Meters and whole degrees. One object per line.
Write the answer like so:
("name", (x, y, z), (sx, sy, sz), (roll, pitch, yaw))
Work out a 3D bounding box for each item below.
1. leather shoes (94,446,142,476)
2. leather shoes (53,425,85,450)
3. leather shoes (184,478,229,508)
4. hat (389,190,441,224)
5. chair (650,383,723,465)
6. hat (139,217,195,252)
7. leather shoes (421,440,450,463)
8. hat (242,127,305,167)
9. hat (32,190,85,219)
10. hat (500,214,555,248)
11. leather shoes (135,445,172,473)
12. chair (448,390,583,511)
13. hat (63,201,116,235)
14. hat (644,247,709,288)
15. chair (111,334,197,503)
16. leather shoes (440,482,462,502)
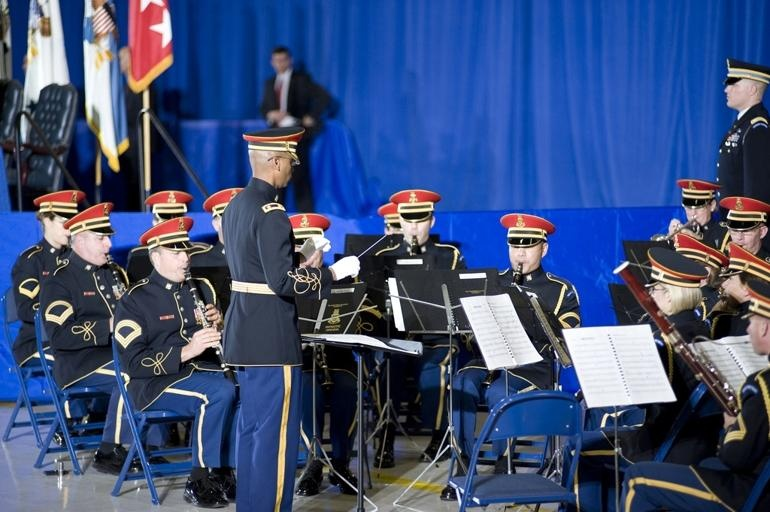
("leather shoes", (-2.439, 1.900, 11.215), (0.542, 0.240, 0.216), (-1, -6, 11))
("leather shoes", (-3.116, 1.765, 11.778), (0.271, 0.153, 0.203), (-3, -9, 6))
("leather shoes", (-1.566, 2.077, 10.609), (0.363, 0.169, 0.199), (4, 4, 32))
("hat", (0.298, -0.527, 12.350), (0.500, 0.313, 0.293), (-2, 8, 3))
("chair", (2.456, 1.349, 9.734), (0.415, 0.581, 0.448), (26, 4, 38))
("hat", (-2.014, -0.204, 10.963), (0.453, 0.273, 0.410), (-7, -6, 36))
("leather shoes", (0.546, 1.868, 11.526), (0.375, 0.188, 0.149), (1, -9, -9))
("hat", (-0.917, -0.931, 10.022), (0.384, 0.204, 0.339), (6, 6, -2))
("hat", (-3.430, -0.547, 12.511), (0.382, 0.205, 0.338), (3, 3, 30))
("hat", (1.366, -0.216, 11.500), (0.345, 0.225, 0.382), (4, 0, 27))
("leather shoes", (-2.206, 1.894, 11.290), (0.220, 0.147, 0.364), (0, -6, 15))
("chair", (1.029, 1.514, 9.934), (0.858, 1.384, 1.047), (-1, 2, -14))
("hat", (-2.820, -0.343, 11.524), (0.368, 0.237, 0.323), (-5, -4, 23))
("hat", (2.410, 0.097, 10.020), (0.371, 0.192, 0.340), (10, 5, 18))
("chair", (-2.156, 1.435, 10.953), (0.755, 1.420, 0.961), (-5, 8, -13))
("leather shoes", (0.583, 2.122, 10.783), (0.181, 0.158, 0.258), (-1, 3, -11))
